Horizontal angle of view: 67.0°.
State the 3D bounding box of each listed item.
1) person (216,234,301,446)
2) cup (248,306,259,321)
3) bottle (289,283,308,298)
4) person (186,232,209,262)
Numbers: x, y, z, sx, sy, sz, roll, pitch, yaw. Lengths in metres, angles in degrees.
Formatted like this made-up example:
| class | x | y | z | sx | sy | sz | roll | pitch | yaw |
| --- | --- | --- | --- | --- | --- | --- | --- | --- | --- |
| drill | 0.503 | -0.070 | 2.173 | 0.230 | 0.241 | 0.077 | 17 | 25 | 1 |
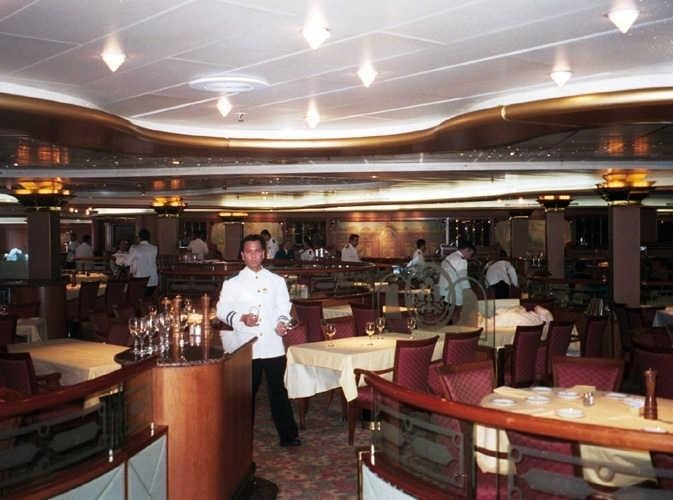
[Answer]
| class | x | y | z | sx | sy | sz | roll | pitch | yaw |
| --- | --- | --- | --- | --- | --- | --- | --- | --- | --- |
| person | -0.667 | 0.942 | 4.804 | 0.908 | 1.888 | 0.706 | -5 | 1 | -43 |
| cup | -0.712 | 0.561 | 4.417 | 0.069 | 0.140 | 0.176 | -4 | 1 | 0 |
| bottle | -0.771 | 0.789 | 10.250 | 0.520 | 0.321 | 0.266 | -1 | 3 | -13 |
| person | -4.504 | -0.125 | 16.414 | 0.584 | 0.893 | 1.743 | -4 | 1 | -16 |
